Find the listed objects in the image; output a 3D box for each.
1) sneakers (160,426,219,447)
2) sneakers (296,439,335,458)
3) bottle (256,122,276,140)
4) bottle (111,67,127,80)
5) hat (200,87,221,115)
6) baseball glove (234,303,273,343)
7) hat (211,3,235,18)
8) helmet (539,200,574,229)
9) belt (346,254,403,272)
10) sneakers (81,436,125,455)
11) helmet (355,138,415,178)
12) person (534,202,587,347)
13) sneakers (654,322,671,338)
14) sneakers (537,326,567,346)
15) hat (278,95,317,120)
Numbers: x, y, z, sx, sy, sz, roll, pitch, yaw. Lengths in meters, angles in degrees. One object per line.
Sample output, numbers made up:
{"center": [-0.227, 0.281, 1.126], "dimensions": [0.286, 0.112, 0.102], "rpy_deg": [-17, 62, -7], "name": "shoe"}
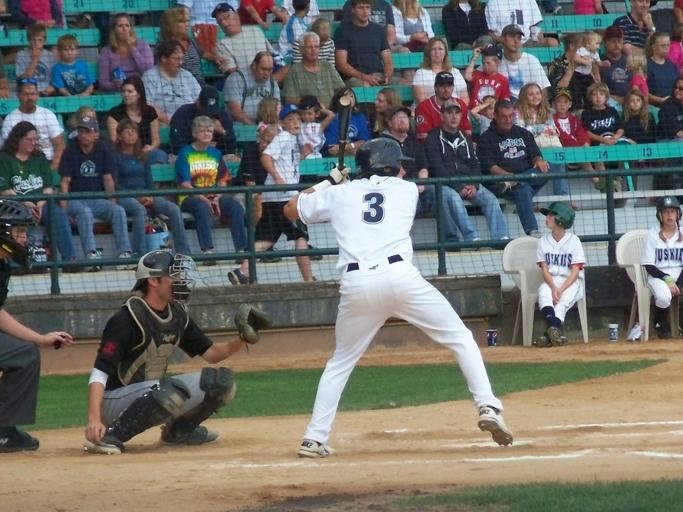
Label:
{"center": [-1.672, 1.909, 21.494], "dimensions": [0.591, 0.249, 0.241], "rpy_deg": [-2, 2, -7], "name": "sneakers"}
{"center": [-0.296, 2.039, 21.026], "dimensions": [0.395, 0.186, 0.149], "rpy_deg": [3, -2, -31], "name": "sneakers"}
{"center": [-1.008, -1.693, 25.916], "dimensions": [0.191, 0.232, 0.243], "rpy_deg": [-2, 4, -10], "name": "bottle"}
{"center": [-3.034, -2.515, 26.593], "dimensions": [0.128, 0.156, 0.206], "rpy_deg": [5, 1, 1], "name": "bottle"}
{"center": [-1.742, -2.083, 25.995], "dimensions": [0.234, 0.369, 0.200], "rpy_deg": [-6, -35, -21], "name": "hat"}
{"center": [-0.942, 0.682, 21.286], "dimensions": [0.339, 0.214, 0.454], "rpy_deg": [9, 29, 5], "name": "baseball glove"}
{"center": [-1.656, -3.411, 26.980], "dimensions": [0.345, 0.177, 0.304], "rpy_deg": [-4, 1, 13], "name": "hat"}
{"center": [2.813, -0.592, 25.988], "dimensions": [0.399, 0.303, 0.308], "rpy_deg": [1, 0, 1], "name": "helmet"}
{"center": [0.328, 0.049, 20.898], "dimensions": [0.409, 0.109, 0.244], "rpy_deg": [-13, -3, 1], "name": "belt"}
{"center": [-2.563, 2.018, 21.152], "dimensions": [0.442, 0.225, 0.164], "rpy_deg": [1, -2, 1], "name": "sneakers"}
{"center": [0.438, -1.094, 21.403], "dimensions": [0.610, 0.485, 0.454], "rpy_deg": [10, -6, 6], "name": "helmet"}
{"center": [2.842, 0.193, 25.725], "dimensions": [0.628, 1.664, 0.672], "rpy_deg": [-4, 1, 6], "name": "person"}
{"center": [4.198, 0.940, 25.804], "dimensions": [0.200, 0.176, 0.171], "rpy_deg": [-4, 1, 6], "name": "sneakers"}
{"center": [2.694, 1.009, 25.479], "dimensions": [0.486, 0.245, 0.179], "rpy_deg": [2, -19, -2], "name": "sneakers"}
{"center": [-0.603, -2.014, 26.189], "dimensions": [0.356, 0.298, 0.687], "rpy_deg": [-3, 1, 30], "name": "hat"}
